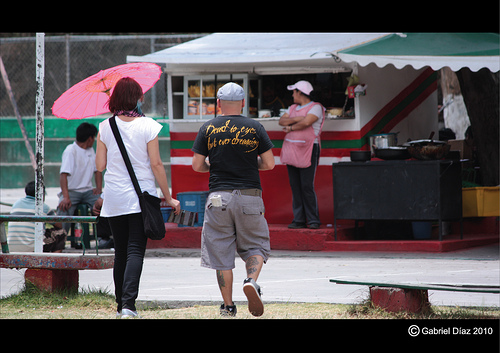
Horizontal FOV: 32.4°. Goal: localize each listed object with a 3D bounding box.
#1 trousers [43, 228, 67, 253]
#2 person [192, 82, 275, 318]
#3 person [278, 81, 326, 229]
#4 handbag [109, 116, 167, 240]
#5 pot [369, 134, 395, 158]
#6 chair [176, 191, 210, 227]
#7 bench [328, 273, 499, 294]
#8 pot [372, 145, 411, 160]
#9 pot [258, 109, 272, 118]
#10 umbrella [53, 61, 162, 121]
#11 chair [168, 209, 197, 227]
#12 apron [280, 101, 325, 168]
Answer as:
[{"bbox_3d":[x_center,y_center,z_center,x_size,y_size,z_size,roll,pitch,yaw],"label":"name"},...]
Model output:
[{"bbox_3d":[-3.194,1.037,14.001,0.449,0.391,0.208,0,1,-33],"label":"trousers"},{"bbox_3d":[-0.214,0.286,11.022,1.003,2.989,0.535,1,1,1],"label":"person"},{"bbox_3d":[0.919,-0.384,15.405,0.711,2.633,0.402,1,1,28],"label":"person"},{"bbox_3d":[-1.441,0.012,10.932,0.700,1.564,0.288,0,1,-8],"label":"handbag"},{"bbox_3d":[2.354,-0.546,15.351,0.384,0.384,0.400,0,2,0],"label":"pot"},{"bbox_3d":[-0.921,0.608,16.343,0.410,0.660,0.698,4,6,44],"label":"chair"},{"bbox_3d":[2.267,1.419,11.700,2.139,0.161,1.847,1,1,14],"label":"bench"},{"bbox_3d":[2.487,-0.404,15.014,0.619,0.225,0.293,1,1,11],"label":"pot"},{"bbox_3d":[0.274,-1.226,16.755,0.220,0.162,0.157,-1,-4,9],"label":"pot"},{"bbox_3d":[-2.142,-1.243,12.507,1.451,0.530,1.512,-8,21,14],"label":"umbrella"},{"bbox_3d":[-0.886,0.554,11.474,0.210,0.200,0.280,19,-2,9],"label":"chair"},{"bbox_3d":[0.906,-0.743,15.378,0.749,1.166,0.347,1,1,9],"label":"apron"}]
